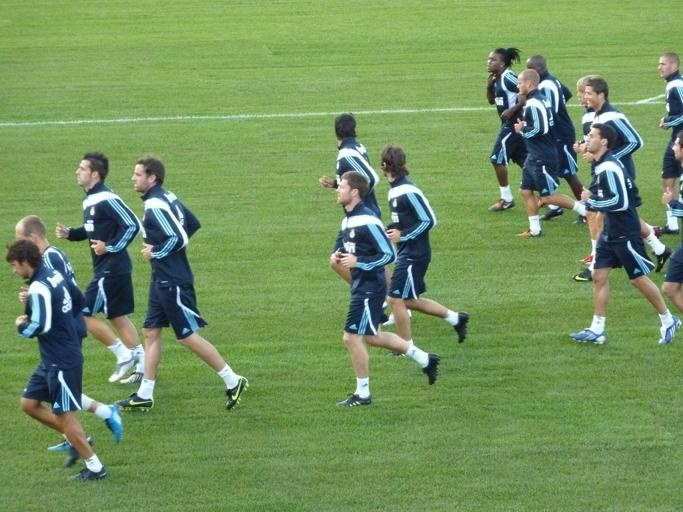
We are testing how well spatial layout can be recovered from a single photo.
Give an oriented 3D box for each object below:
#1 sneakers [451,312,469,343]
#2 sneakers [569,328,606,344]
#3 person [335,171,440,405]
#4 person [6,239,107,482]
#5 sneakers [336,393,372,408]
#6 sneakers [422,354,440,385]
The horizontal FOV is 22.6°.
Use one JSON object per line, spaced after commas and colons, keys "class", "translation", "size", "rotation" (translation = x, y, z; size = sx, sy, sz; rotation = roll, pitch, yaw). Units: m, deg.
{"class": "sneakers", "translation": [1.923, 1.125, 27.596], "size": [0.291, 0.486, 0.199], "rotation": [-3, 16, -1]}
{"class": "sneakers", "translation": [3.984, 1.266, 27.517], "size": [0.636, 0.237, 0.220], "rotation": [6, 4, 3]}
{"class": "person", "translation": [0.519, 0.460, 26.547], "size": [1.463, 3.570, 0.987], "rotation": [-8, 17, -7]}
{"class": "person", "translation": [-4.368, 1.543, 25.642], "size": [1.071, 3.599, 1.232], "rotation": [-9, 17, -9]}
{"class": "sneakers", "translation": [0.221, 2.246, 26.670], "size": [0.647, 0.213, 0.192], "rotation": [1, -4, -1]}
{"class": "sneakers", "translation": [1.420, 1.756, 26.908], "size": [0.305, 0.501, 0.206], "rotation": [-4, 11, -2]}
